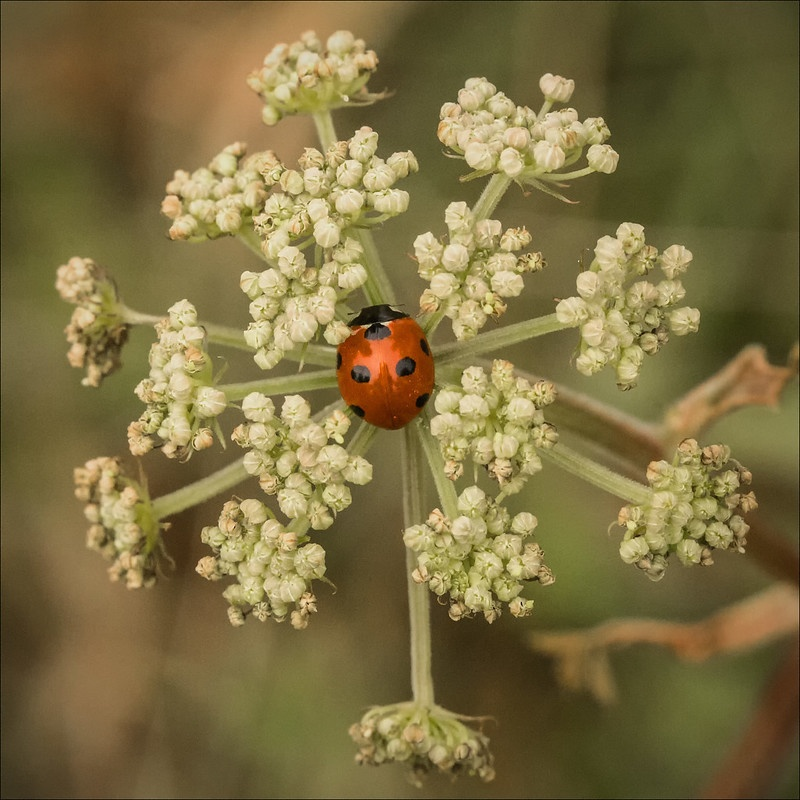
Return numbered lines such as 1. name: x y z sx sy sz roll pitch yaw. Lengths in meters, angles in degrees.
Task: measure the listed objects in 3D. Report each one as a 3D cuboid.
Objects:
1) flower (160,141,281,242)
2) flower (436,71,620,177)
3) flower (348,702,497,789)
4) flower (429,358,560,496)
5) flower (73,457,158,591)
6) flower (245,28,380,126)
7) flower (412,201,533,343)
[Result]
1. flower: -1.012 -1.111 5.264 0.622 0.548 0.239 -26 -45 5
2. flower: 0.626 -1.373 4.961 0.722 0.686 0.277 -12 -41 -19
3. flower: 0.151 1.767 5.188 0.521 0.649 0.206 -23 -85 -22
4. flower: 0.523 0.109 4.781 0.612 0.622 0.256 -46 -42 -15
5. flower: -1.610 0.704 5.625 0.423 0.459 0.771 -14 -75 2
6. flower: -0.523 -1.914 5.710 0.867 0.838 0.341 -4 -58 9
7. flower: 0.324 -0.676 4.818 0.546 0.261 0.615 35 -79 -11
